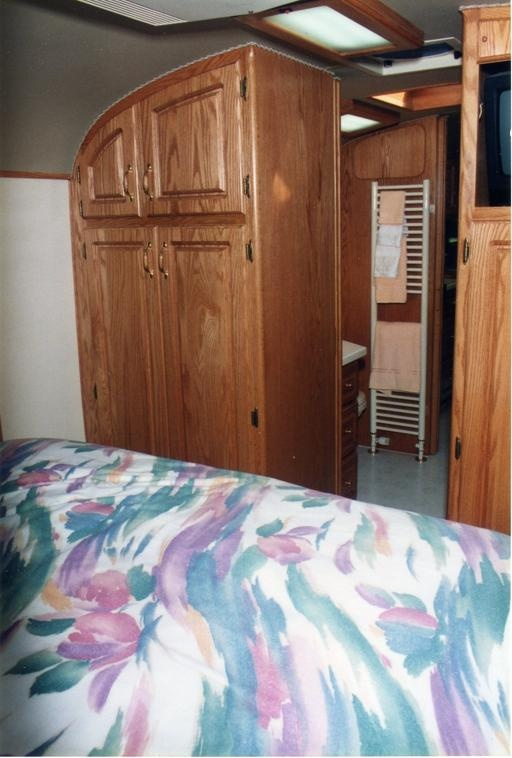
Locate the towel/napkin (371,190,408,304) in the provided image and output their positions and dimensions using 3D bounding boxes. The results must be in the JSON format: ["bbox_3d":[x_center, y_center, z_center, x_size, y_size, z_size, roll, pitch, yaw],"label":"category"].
[{"bbox_3d":[0.914,-0.906,3.821,0.217,0.749,0.054,4,11,31],"label":"towel/napkin"}]

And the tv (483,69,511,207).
[{"bbox_3d":[0.753,-0.744,1.751,0.084,0.385,0.100,3,11,23],"label":"tv"}]

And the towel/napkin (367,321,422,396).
[{"bbox_3d":[0.984,-0.148,3.906,0.325,0.478,0.105,6,9,33],"label":"towel/napkin"}]

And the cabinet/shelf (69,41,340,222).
[{"bbox_3d":[-0.323,-0.939,2.435,1.219,0.701,0.467,6,13,41],"label":"cabinet/shelf"}]
